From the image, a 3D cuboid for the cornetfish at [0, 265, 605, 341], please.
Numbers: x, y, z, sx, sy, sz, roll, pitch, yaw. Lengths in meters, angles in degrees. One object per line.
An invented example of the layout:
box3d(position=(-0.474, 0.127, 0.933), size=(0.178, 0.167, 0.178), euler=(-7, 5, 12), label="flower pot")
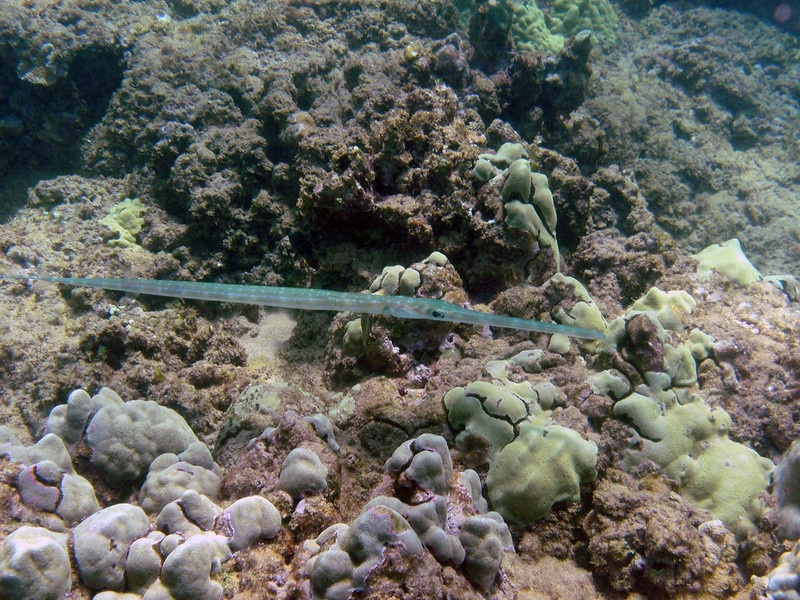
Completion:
box3d(position=(-1.396, 0.053, 13.222), size=(6.502, 0.585, 0.628), euler=(4, -1, 1), label="cornetfish")
